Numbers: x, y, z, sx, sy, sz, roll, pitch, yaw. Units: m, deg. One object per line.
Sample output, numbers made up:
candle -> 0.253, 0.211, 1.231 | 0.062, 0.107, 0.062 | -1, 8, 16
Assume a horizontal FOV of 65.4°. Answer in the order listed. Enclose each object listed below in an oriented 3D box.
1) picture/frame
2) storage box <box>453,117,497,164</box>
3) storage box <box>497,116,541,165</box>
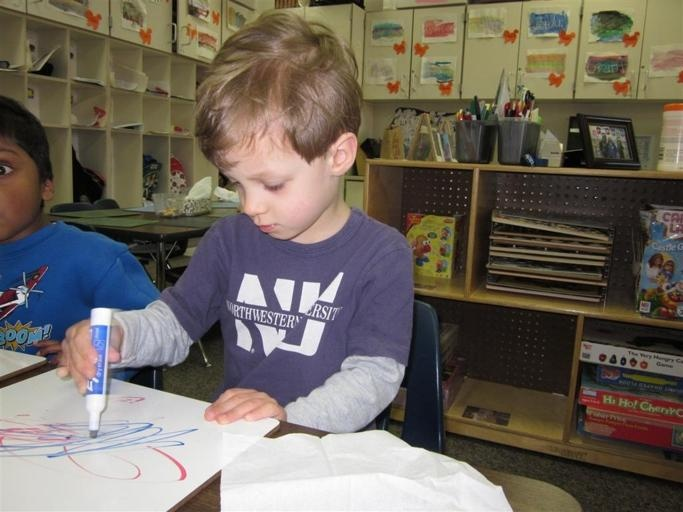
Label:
picture/frame -> 1.038, -0.438, 2.064 | 0.236, 0.209, 0.020 | -1, -11, -18
storage box -> 0.546, -0.470, 2.179 | 0.172, 0.148, 0.158 | -1, 6, 6
storage box -> 0.723, -0.459, 2.193 | 0.173, 0.167, 0.214 | 6, 3, 28
